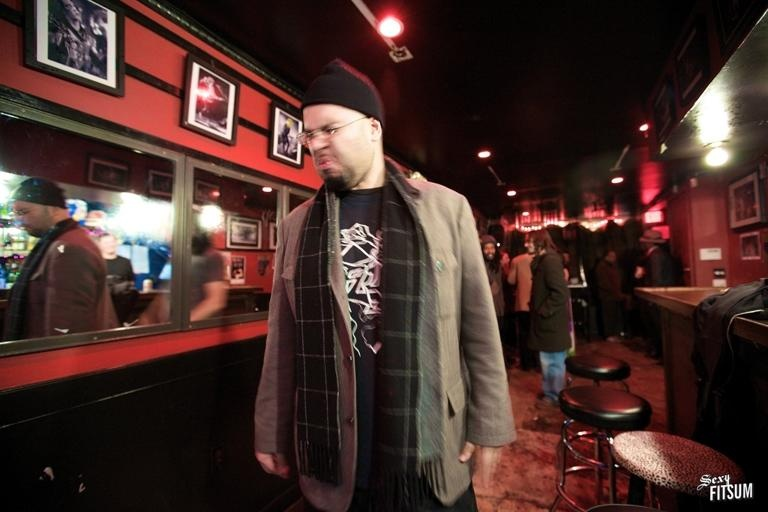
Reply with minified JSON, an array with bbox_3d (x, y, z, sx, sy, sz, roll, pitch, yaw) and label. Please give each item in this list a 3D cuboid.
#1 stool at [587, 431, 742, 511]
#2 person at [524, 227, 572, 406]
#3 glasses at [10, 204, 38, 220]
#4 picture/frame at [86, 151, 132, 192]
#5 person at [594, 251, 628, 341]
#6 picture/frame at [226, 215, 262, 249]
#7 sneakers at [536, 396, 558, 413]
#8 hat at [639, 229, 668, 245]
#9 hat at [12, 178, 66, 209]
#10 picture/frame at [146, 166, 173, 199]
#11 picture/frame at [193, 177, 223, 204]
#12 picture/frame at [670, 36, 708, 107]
[{"bbox_3d":[1.768,1.238,3.169,0.618,0.627,0.595,-4,2,2],"label":"stool"},{"bbox_3d":[1.876,0.648,5.623,0.439,1.943,0.667,-3,-3,18],"label":"person"},{"bbox_3d":[-2.345,-0.297,3.219,0.090,0.054,0.096,-3,-15,-40],"label":"glasses"},{"bbox_3d":[-1.947,-0.596,3.474,0.284,0.249,0.020,6,-10,-42],"label":"picture/frame"},{"bbox_3d":[4.034,0.690,8.796,0.453,1.521,0.480,-3,-3,17],"label":"person"},{"bbox_3d":[-1.187,-0.203,4.146,0.028,0.235,0.280,-4,-5,44],"label":"picture/frame"},{"bbox_3d":[1.795,1.656,5.489,0.245,0.172,0.121,9,-15,39],"label":"sneakers"},{"bbox_3d":[4.127,-0.298,7.693,0.272,0.125,0.314,-5,1,-36],"label":"hat"},{"bbox_3d":[-2.271,-0.404,3.260,0.175,0.164,0.213,12,-20,-39],"label":"hat"},{"bbox_3d":[-1.675,-0.546,3.669,0.016,0.195,0.210,2,15,37],"label":"picture/frame"},{"bbox_3d":[-1.409,-0.521,3.927,0.027,0.145,0.201,-4,-18,29],"label":"picture/frame"},{"bbox_3d":[2.581,-1.572,4.172,0.066,0.508,0.503,3,-18,16],"label":"picture/frame"}]
